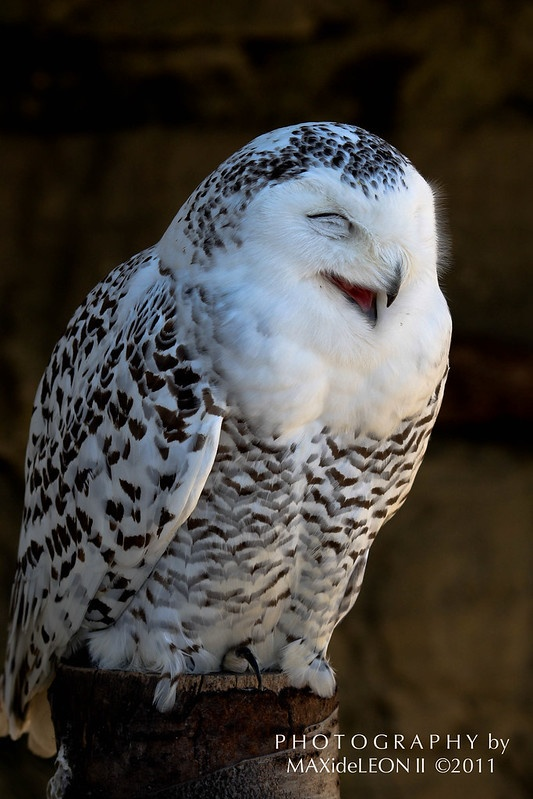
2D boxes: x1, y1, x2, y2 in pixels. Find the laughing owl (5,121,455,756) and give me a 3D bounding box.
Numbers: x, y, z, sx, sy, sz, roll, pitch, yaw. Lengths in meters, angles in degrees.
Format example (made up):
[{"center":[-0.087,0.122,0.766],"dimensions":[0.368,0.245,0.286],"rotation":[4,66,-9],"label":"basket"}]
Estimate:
[{"center":[-0.130,0.052,2.285],"dimensions":[0.740,0.597,1.095],"rotation":[-7,101,-19],"label":"laughing owl"}]
